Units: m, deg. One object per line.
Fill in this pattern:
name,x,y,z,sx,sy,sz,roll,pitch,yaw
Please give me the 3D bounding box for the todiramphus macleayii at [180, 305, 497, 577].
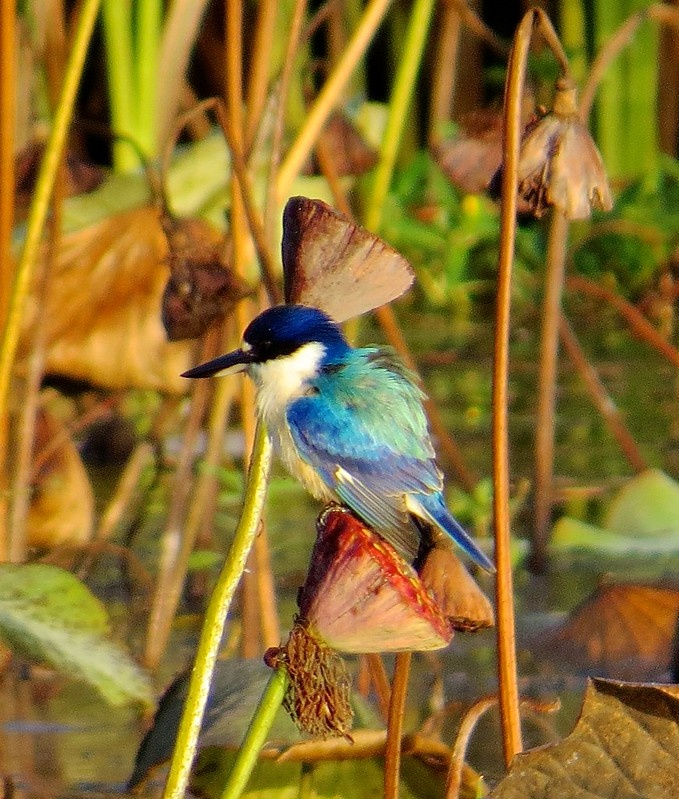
todiramphus macleayii,0.005,0.022,0.947,0.190,0.134,0.080,10,5,5
